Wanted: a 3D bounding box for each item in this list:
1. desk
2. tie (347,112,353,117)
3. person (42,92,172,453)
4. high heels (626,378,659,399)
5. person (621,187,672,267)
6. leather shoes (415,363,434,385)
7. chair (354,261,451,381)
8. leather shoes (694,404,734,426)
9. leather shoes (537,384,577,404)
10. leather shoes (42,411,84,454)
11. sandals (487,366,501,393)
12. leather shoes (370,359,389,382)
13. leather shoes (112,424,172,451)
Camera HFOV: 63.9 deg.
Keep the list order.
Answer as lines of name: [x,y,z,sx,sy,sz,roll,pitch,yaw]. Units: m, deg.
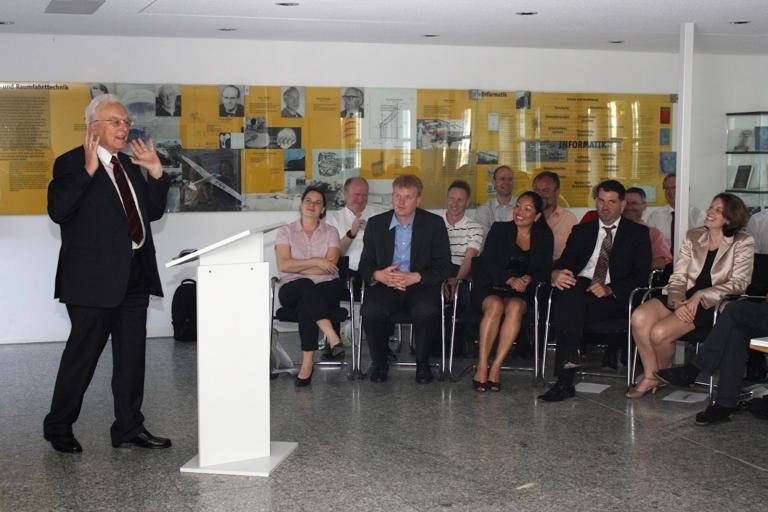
desk: [-0.951,0.614,3.932,0.572,1.489,0.347,1,7,6]
tie: [-0.421,-1.724,7.479,0.086,0.052,0.022,-1,3,-2]
person: [-1.899,0.114,4.179,0.840,2.390,0.414,-2,7,-11]
high heels: [2.192,1.126,5.262,0.283,0.103,0.148,-11,11,-9]
person: [2.753,-0.304,6.846,0.832,0.907,0.594,3,2,24]
leather shoes: [0.365,1.062,5.630,0.167,0.164,0.156,0,7,2]
chair: [0.173,0.719,6.026,0.797,0.961,0.884,-1,-17,5]
leather shoes: [2.481,1.214,4.731,0.371,0.141,0.125,-1,-1,-19]
leather shoes: [1.456,1.157,5.185,0.358,0.132,0.127,-1,-4,-21]
leather shoes: [-2.230,1.203,4.226,0.408,0.160,0.150,9,9,38]
sandals: [0.954,1.073,5.394,0.112,0.193,0.144,1,7,10]
leather shoes: [-0.046,1.064,5.705,0.141,0.152,0.379,-1,-10,3]
leather shoes: [-1.643,1.259,4.289,0.428,0.157,0.155,-2,-4,-6]
